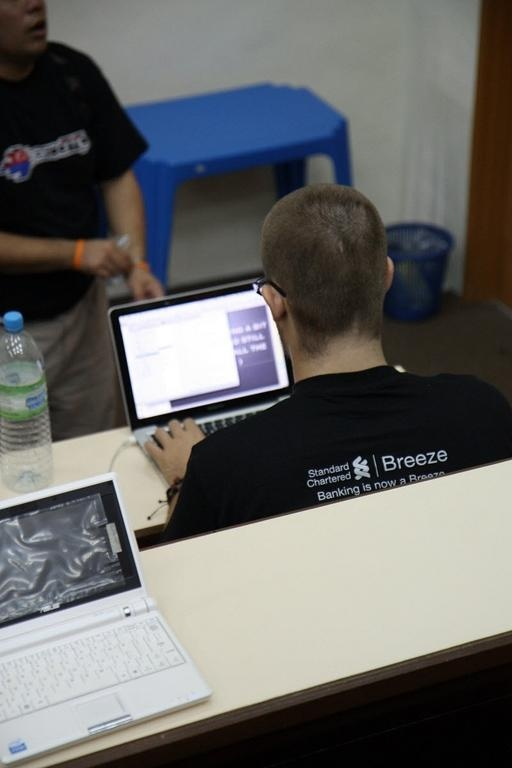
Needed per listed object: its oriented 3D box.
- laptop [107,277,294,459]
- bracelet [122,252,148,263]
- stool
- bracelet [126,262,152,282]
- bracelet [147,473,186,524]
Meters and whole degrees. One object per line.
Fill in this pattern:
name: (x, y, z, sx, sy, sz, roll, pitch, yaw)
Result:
laptop: (-0.114, -0.007, 1.167, 0.356, 0.226, 0.279, -11, 21, 16)
bracelet: (-0.281, -0.294, 1.611, 0.036, 0.009, 0.035, -17, 42, -41)
stool: (-0.044, -0.472, 1.955, 0.618, 0.441, 0.423, -18, 28, -21)
bracelet: (-0.271, -0.265, 1.608, 0.041, 0.015, 0.042, 34, 58, 31)
bracelet: (-0.138, 0.177, 1.101, 0.089, 0.030, 0.052, -54, 24, -13)
